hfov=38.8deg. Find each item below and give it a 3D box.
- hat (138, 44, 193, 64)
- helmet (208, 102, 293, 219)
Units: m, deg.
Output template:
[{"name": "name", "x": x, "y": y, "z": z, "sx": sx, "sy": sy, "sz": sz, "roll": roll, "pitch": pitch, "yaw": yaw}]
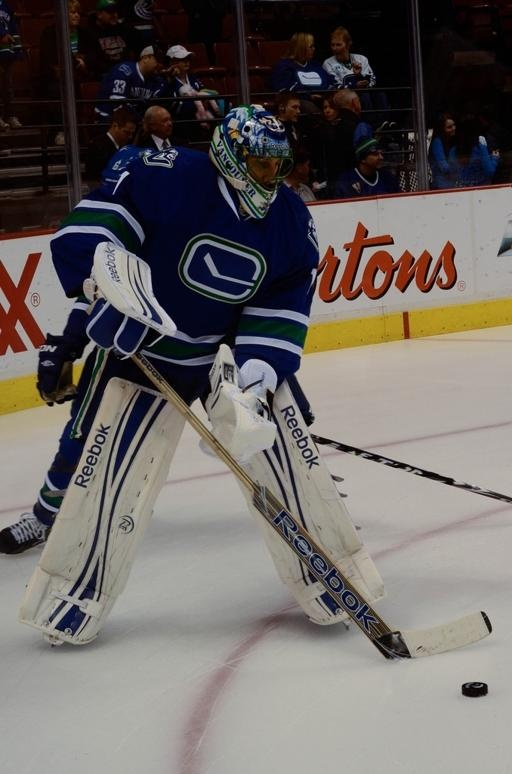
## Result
[{"name": "hat", "x": -0.689, "y": -2.550, "z": 5.628, "sx": 0.305, "sy": 0.087, "sz": 0.179, "roll": -1, "pitch": 13, "yaw": 6}, {"name": "helmet", "x": -0.013, "y": -0.521, "z": 1.657, "sx": 0.161, "sy": 0.284, "sz": 0.135, "roll": -8, "pitch": 5, "yaw": -35}]
